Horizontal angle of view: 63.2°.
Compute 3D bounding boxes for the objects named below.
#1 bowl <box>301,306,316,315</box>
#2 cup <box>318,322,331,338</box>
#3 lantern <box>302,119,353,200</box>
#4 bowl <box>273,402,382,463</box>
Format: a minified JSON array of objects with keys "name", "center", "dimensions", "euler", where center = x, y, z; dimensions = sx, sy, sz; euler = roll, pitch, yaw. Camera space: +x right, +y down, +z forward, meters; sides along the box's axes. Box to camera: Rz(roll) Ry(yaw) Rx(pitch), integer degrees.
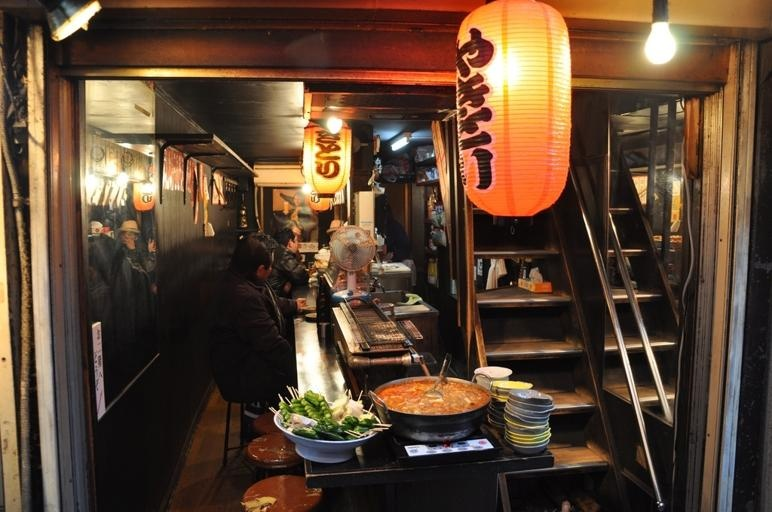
[{"name":"bowl","center":[-1.171,0.814,9.431],"dimensions":[0.234,0.055,0.233],"euler":[1,4,0]},{"name":"cup","center":[-0.749,0.896,7.604],"dimensions":[0.172,0.187,0.169],"euler":[1,4,0]},{"name":"lantern","center":[-0.612,-1.168,7.865],"dimensions":[0.777,1.272,0.767],"euler":[-1,7,-10]},{"name":"bowl","center":[-0.433,1.256,4.286],"dimensions":[0.727,0.285,0.254],"euler":[-5,3,10]}]
